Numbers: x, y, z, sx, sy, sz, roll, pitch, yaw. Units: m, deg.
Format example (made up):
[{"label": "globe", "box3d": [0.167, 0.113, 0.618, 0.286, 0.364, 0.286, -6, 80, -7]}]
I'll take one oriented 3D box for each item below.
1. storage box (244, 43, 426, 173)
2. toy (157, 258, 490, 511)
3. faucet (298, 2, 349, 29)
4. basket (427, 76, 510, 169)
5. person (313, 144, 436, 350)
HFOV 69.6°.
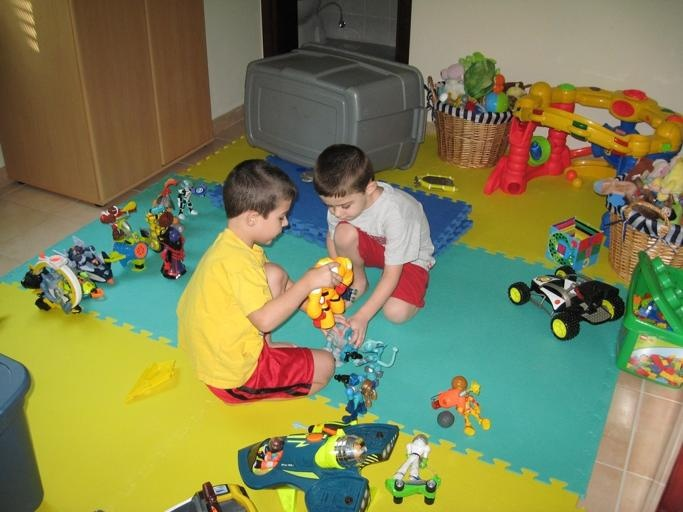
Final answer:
[{"label": "storage box", "box3d": [-0.093, -1.010, 3.530, 1.153, 0.773, 0.696, 25, 39, 30]}, {"label": "toy", "box3d": [0.060, 0.511, 1.789, 0.873, 0.284, 1.028, -4, 44, 16]}, {"label": "faucet", "box3d": [-0.241, -2.736, 5.577, 0.665, 0.284, 0.225, 8, 31, 2]}, {"label": "basket", "box3d": [1.000, -0.962, 3.791, 0.622, 0.520, 0.651, 15, 30, 18]}, {"label": "person", "box3d": [0.115, -0.105, 2.349, 0.550, 0.849, 0.747, 5, 40, 15]}]
